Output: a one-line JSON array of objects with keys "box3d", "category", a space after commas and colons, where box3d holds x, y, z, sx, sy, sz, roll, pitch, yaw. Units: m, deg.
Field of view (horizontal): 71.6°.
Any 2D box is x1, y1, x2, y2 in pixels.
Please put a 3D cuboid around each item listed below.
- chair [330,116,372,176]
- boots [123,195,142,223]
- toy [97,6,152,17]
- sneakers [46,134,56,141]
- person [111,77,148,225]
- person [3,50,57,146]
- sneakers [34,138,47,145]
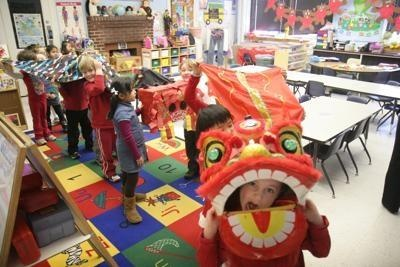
[{"box3d": [2.287, 0.193, 4.242, 0.519, 0.773, 0.509, -27, 37, -24], "category": "chair"}, {"box3d": [-0.736, 0.833, 3.206, 0.153, 0.240, 0.362, -13, 24, -35], "category": "boots"}, {"box3d": [-2.088, -3.453, 7.788, 1.566, 0.317, 0.364, -19, 29, -38], "category": "toy"}, {"box3d": [-2.587, 0.057, 4.841, 0.181, 0.080, 0.075, 7, 25, 23], "category": "sneakers"}, {"box3d": [-0.756, 0.195, 3.038, 0.329, 1.582, 0.488, -7, 24, -15], "category": "person"}, {"box3d": [-2.734, -0.497, 4.514, 0.542, 1.379, 0.373, -19, 29, -36], "category": "person"}, {"box3d": [-2.726, 0.129, 4.732, 0.209, 0.086, 0.082, 8, 23, 23], "category": "sneakers"}]
